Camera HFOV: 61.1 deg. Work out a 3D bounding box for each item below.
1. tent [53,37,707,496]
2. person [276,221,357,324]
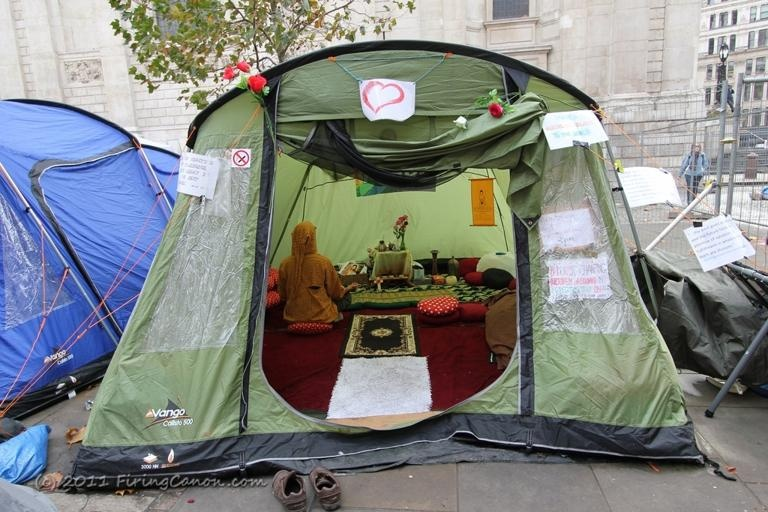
[{"bbox_3d":[0.179,0.365,8.266,4.972,3.208,4.676,-1,6,1],"label":"tent"},{"bbox_3d":[-0.850,0.237,8.318,1.017,1.311,0.812,0,7,7],"label":"person"}]
